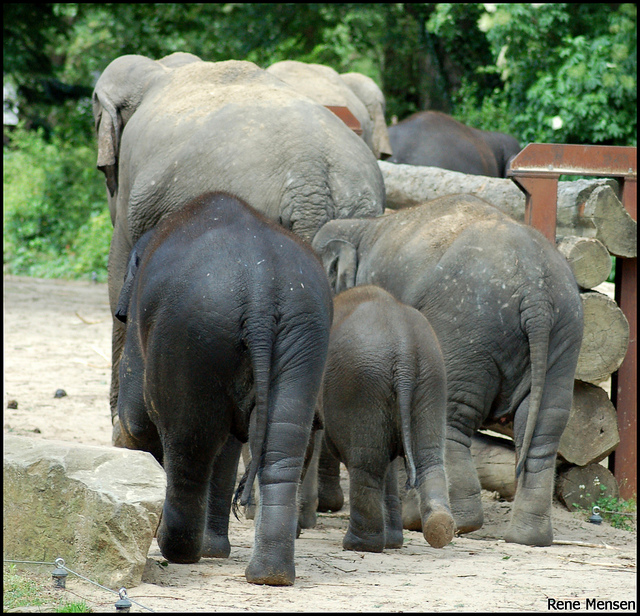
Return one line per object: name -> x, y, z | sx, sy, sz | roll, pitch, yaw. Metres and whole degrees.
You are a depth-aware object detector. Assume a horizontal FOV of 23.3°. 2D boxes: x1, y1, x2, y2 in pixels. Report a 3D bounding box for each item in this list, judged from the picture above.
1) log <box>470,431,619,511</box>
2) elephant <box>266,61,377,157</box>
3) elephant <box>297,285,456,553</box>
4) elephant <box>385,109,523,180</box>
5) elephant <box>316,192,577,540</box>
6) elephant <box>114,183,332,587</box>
log -> 1.308, 1.030, 9.624 | 0.318, 0.265, 0.995 | -30, 18, -27
elephant -> 0.027, -1.626, 11.923 | 0.606, 0.888, 1.282 | -2, 23, -1
elephant -> 0.201, 0.623, 8.629 | 0.789, 1.413, 2.337 | 0, -2, -18
elephant -> 1.204, -1.580, 14.777 | 0.986, 0.617, 1.650 | 4, 5, 18
elephant -> 0.613, 0.409, 9.445 | 1.210, 2.142, 2.500 | 8, -4, -24
elephant -> -0.745, 0.340, 8.512 | 0.943, 2.116, 3.066 | 2, -3, -16
